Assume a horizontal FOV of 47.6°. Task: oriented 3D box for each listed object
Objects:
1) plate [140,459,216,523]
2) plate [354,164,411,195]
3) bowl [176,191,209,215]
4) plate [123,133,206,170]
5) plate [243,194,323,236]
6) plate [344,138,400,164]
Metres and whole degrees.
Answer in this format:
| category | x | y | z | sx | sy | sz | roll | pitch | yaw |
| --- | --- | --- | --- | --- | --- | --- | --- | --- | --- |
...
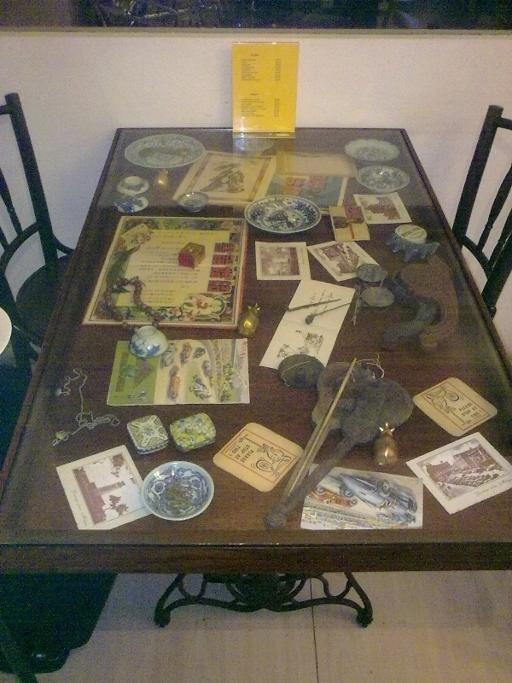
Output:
| category | x | y | z | sx | sy | sz | roll | pitch | yaw |
| --- | --- | --- | --- | --- | --- | --- | --- | --- | --- |
| plate | -0.124 | 0.232 | 0.910 | 0.107 | 0.014 | 0.101 | -7 | 40 | -11 |
| plate | 0.361 | -0.449 | 1.660 | 0.119 | 0.029 | 0.109 | -1 | 48 | 1 |
| bowl | -0.166 | -0.368 | 1.543 | 0.070 | 0.021 | 0.063 | 0 | 58 | -1 |
| plate | -0.274 | -0.565 | 1.745 | 0.183 | 0.023 | 0.168 | 4 | 46 | 2 |
| plate | 0.064 | -0.318 | 1.505 | 0.144 | 0.022 | 0.130 | 1 | 43 | -4 |
| plate | 0.350 | -0.579 | 1.771 | 0.127 | 0.031 | 0.116 | 0 | 46 | 4 |
